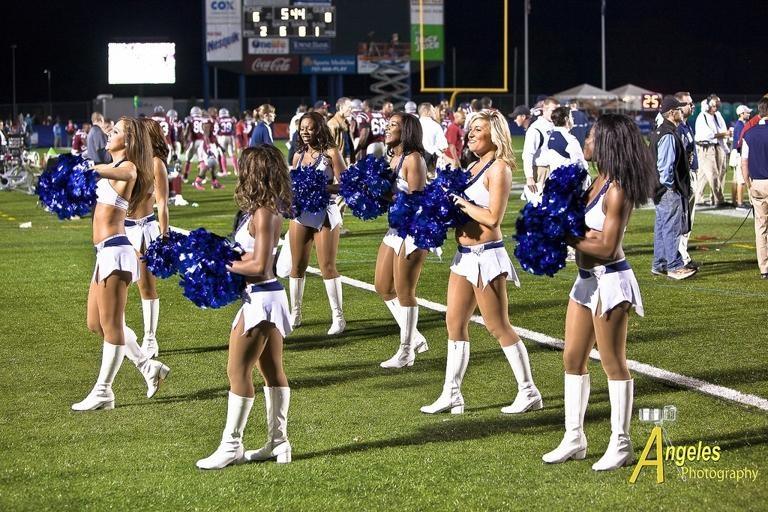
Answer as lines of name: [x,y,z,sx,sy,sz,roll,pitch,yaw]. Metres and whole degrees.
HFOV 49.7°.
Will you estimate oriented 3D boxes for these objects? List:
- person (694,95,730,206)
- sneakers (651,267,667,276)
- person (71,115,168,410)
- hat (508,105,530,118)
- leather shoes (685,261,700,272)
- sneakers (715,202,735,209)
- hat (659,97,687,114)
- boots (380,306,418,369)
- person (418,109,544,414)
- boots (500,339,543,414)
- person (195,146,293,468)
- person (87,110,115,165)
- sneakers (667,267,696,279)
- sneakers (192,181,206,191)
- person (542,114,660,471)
person: [6.446,-2.038,16.346,0.609,2.166,1.592,3,11,22]
sneakers: [3.539,0.187,10.640,0.189,0.091,0.080,-2,15,6]
person: [-2.105,0.036,6.430,0.825,2.167,0.562,-9,13,-40]
hat: [2.520,-2.711,15.484,0.391,0.240,0.303,8,15,25]
leather shoes: [3.941,0.134,10.570,0.123,0.172,0.367,-3,-5,14]
sneakers: [6.840,-1.020,16.623,0.309,0.152,0.121,-1,16,0]
hat: [3.585,-1.850,10.246,0.293,0.163,0.196,-22,19,-1]
boots: [0.133,0.689,7.236,0.332,0.532,0.183,-3,10,-13]
person: [0.750,0.045,6.162,0.808,2.220,0.439,1,10,10]
boots: [1.015,0.953,6.259,0.329,0.522,0.173,-17,-32,11]
person: [-0.877,0.323,5.433,0.586,2.058,0.520,-1,10,-2]
person: [-5.288,-2.191,15.395,0.374,0.747,0.770,-4,19,-27]
sneakers: [3.718,0.212,10.365,0.333,0.148,0.163,-7,-8,10]
sneakers: [-4.895,-1.893,22.008,0.188,0.269,0.554,-4,16,-33]
person: [1.405,0.213,5.415,0.629,2.240,0.550,3,10,19]
